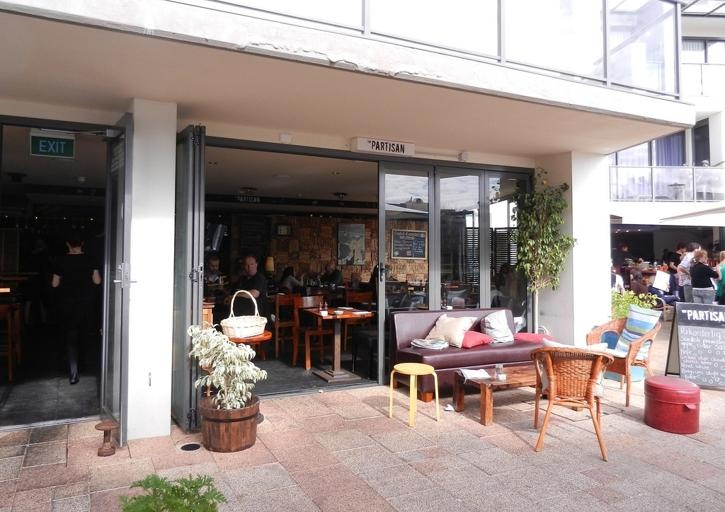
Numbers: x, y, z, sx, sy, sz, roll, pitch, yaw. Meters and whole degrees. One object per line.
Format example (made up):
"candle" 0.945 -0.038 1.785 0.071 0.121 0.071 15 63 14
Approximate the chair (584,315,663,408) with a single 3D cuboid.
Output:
"chair" 3.874 1.442 7.667 0.799 1.052 0.853 -2 4 -29

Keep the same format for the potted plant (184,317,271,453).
"potted plant" -1.588 1.461 6.052 0.914 1.521 1.046 -3 -17 17

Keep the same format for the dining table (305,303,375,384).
"dining table" -0.404 1.416 8.301 0.804 0.981 1.099 3 -6 -24

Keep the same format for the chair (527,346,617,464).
"chair" 2.402 1.586 5.974 0.931 1.119 0.871 -1 -9 38

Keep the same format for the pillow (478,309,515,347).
"pillow" 2.137 1.085 8.134 0.733 0.578 0.404 3 -7 -34

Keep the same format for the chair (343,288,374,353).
"chair" -0.239 1.190 10.452 0.780 1.015 0.781 4 -3 -2

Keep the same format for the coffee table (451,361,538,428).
"coffee table" 2.057 1.758 6.887 1.428 0.479 0.842 -2 1 -18

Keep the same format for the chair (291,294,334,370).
"chair" -0.836 1.280 9.038 0.753 1.122 0.737 0 -1 -43

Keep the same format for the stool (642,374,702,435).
"stool" 3.835 1.854 6.474 0.604 0.542 0.575 2 -2 4

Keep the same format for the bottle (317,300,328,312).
"bottle" -0.662 0.840 8.781 0.153 0.161 0.148 0 -5 11

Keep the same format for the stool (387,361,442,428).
"stool" 0.649 1.751 6.687 0.646 0.598 0.641 2 -4 -9

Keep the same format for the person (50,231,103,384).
"person" -4.259 0.758 7.772 0.592 2.254 0.780 -6 10 -40
